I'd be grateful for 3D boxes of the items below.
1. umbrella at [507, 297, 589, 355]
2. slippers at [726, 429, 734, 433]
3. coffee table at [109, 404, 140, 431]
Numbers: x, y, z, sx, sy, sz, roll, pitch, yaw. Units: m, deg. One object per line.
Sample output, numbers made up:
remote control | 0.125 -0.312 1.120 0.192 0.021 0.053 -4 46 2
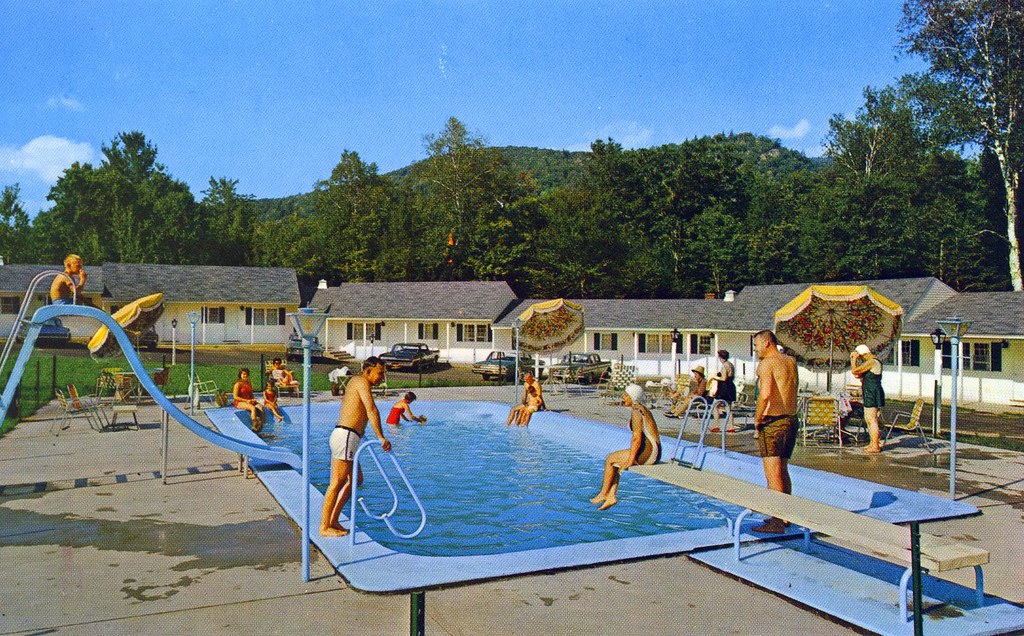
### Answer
umbrella | 1.655 0.433 41.322 2.606 2.906 3.081 3 10 5
slippers | 7.156 3.664 31.569 0.173 0.088 0.225 -2 1 19
coffee table | -12.685 3.149 31.612 1.366 0.696 1.339 1 -1 -17
